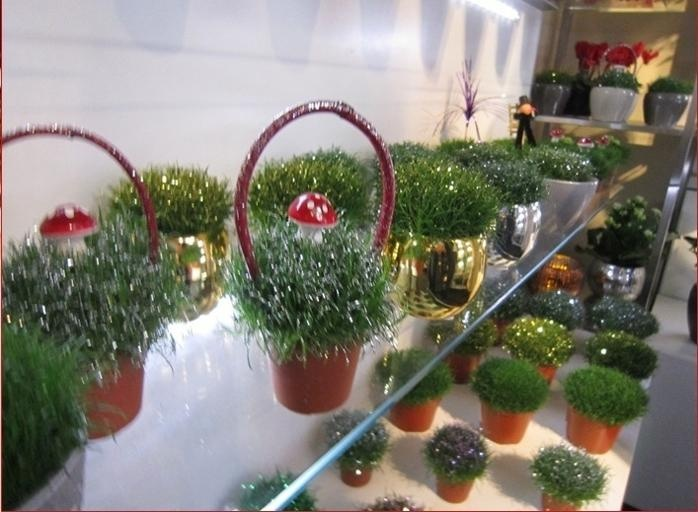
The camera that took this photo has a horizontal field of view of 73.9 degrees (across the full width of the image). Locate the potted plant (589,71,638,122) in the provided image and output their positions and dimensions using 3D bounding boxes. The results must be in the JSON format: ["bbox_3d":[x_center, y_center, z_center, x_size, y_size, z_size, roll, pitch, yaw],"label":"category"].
[{"bbox_3d":[0.373,-0.234,0.682,0.060,0.076,0.063,5,18,9],"label":"potted plant"}]

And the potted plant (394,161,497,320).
[{"bbox_3d":[0.085,-0.020,0.478,0.111,0.161,0.130,8,20,15],"label":"potted plant"}]

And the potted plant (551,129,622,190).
[{"bbox_3d":[0.378,-0.141,0.754,0.109,0.072,0.120,-9,14,12],"label":"potted plant"}]

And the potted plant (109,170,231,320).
[{"bbox_3d":[-0.137,-0.011,0.377,0.086,0.119,0.083,-7,8,-36],"label":"potted plant"}]

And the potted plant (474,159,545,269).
[{"bbox_3d":[0.185,-0.058,0.549,0.097,0.129,0.107,6,13,27],"label":"potted plant"}]

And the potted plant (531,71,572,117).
[{"bbox_3d":[0.282,-0.231,0.670,0.053,0.053,0.062,-1,14,-3],"label":"potted plant"}]

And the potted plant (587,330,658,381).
[{"bbox_3d":[0.462,0.165,0.813,0.094,0.077,0.087,1,0,33],"label":"potted plant"}]

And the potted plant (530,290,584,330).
[{"bbox_3d":[0.342,0.073,0.778,0.075,0.056,0.092,-3,-1,28],"label":"potted plant"}]

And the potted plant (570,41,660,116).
[{"bbox_3d":[0.394,-0.257,0.685,0.090,0.117,0.108,3,17,20],"label":"potted plant"}]

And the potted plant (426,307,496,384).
[{"bbox_3d":[0.130,0.117,0.558,0.061,0.075,0.059,1,-18,7],"label":"potted plant"}]

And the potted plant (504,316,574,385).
[{"bbox_3d":[0.284,0.151,0.682,0.087,0.100,0.099,-5,31,10],"label":"potted plant"}]

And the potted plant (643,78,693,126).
[{"bbox_3d":[0.477,-0.232,0.707,0.060,0.077,0.065,4,16,12],"label":"potted plant"}]

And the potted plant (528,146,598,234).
[{"bbox_3d":[0.300,-0.080,0.652,0.091,0.107,0.093,-3,-10,10],"label":"potted plant"}]

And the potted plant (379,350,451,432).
[{"bbox_3d":[0.070,0.133,0.481,0.070,0.085,0.077,2,21,3],"label":"potted plant"}]

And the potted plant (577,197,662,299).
[{"bbox_3d":[0.575,-0.004,0.967,0.103,0.204,0.140,2,14,6],"label":"potted plant"}]

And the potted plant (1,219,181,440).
[{"bbox_3d":[-0.170,0.034,0.346,0.104,0.134,0.118,9,5,37],"label":"potted plant"}]

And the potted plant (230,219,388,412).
[{"bbox_3d":[-0.031,0.033,0.380,0.112,0.138,0.124,12,18,23],"label":"potted plant"}]

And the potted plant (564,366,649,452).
[{"bbox_3d":[0.368,0.222,0.687,0.098,0.123,0.097,-7,14,-40],"label":"potted plant"}]

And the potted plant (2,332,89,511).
[{"bbox_3d":[-0.166,0.083,0.250,0.038,0.077,0.042,-7,20,-30],"label":"potted plant"}]

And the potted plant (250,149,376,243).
[{"bbox_3d":[-0.025,-0.069,0.400,0.077,0.051,0.082,-11,28,-18],"label":"potted plant"}]

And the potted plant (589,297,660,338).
[{"bbox_3d":[0.503,0.110,0.849,0.085,0.061,0.102,3,16,-2],"label":"potted plant"}]
